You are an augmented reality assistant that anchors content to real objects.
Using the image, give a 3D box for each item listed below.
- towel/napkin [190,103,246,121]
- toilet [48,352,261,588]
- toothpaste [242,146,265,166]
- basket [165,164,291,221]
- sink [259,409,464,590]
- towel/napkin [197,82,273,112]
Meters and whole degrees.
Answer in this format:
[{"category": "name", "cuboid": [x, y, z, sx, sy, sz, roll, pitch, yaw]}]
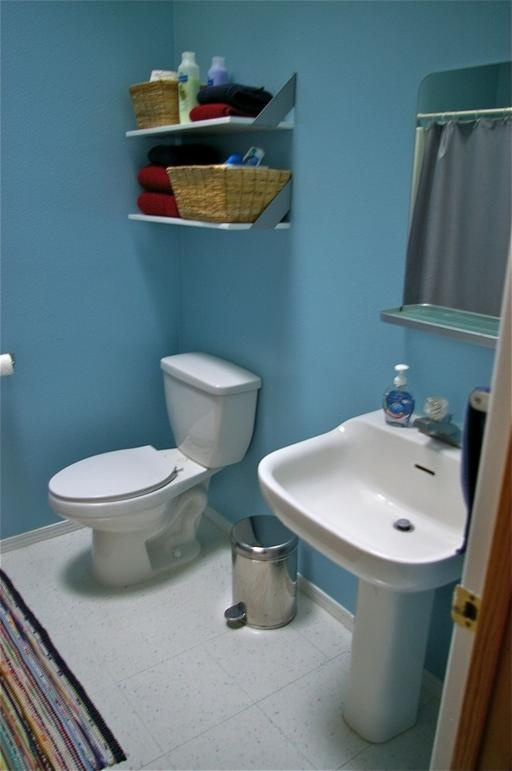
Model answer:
[{"category": "towel/napkin", "cuboid": [-0.101, -0.760, 1.712, 0.092, 0.029, 0.093, -17, 36, -29]}, {"category": "toilet", "cuboid": [-0.361, 0.203, 2.455, 0.917, 0.919, 0.534, -10, 22, -34]}, {"category": "toothpaste", "cuboid": [-0.010, -0.675, 1.799, 0.029, 0.063, 0.083, -4, 14, -19]}, {"category": "basket", "cuboid": [-0.107, -0.539, 1.795, 0.208, 0.112, 0.275, -10, 21, -35]}, {"category": "sink", "cuboid": [0.226, 0.260, 1.327, 0.397, 0.183, 0.452, -12, 25, -32]}, {"category": "towel/napkin", "cuboid": [-0.066, -0.800, 1.732, 0.226, 0.084, 0.115, 4, 18, 6]}]
